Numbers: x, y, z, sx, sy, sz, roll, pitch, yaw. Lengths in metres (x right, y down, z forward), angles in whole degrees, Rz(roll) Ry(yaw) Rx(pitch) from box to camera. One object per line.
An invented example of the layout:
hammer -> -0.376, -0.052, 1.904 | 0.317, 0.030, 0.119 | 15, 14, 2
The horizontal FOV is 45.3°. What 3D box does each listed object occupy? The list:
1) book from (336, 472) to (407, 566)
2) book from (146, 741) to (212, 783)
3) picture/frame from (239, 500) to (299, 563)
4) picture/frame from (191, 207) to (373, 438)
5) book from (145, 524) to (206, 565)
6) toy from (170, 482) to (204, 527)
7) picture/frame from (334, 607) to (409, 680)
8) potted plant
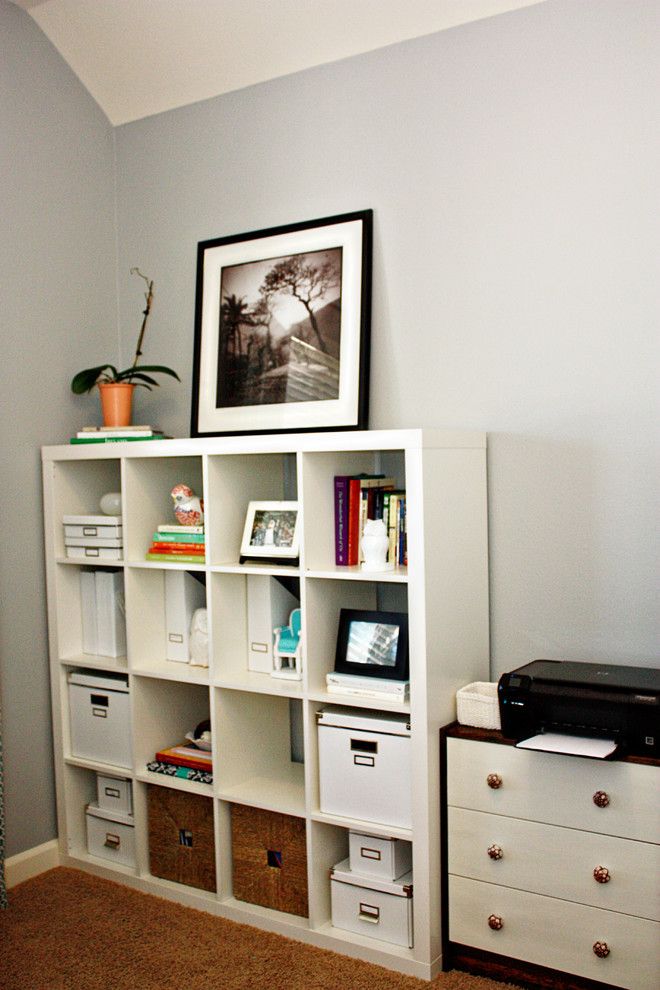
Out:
book -> 0.158, 0.046, 2.159 | 0.194, 0.273, 0.271 | -1, -2, 30
book -> -0.435, 0.799, 2.342 | 0.124, 0.031, 0.124 | 4, 3, 22
picture/frame -> -0.166, 0.105, 2.181 | 0.156, 0.180, 0.013 | -7, -18, 32
picture/frame -> -0.129, -0.522, 2.444 | 0.734, 0.752, 0.058 | -2, -6, 33
book -> -0.449, 0.147, 2.341 | 0.125, 0.046, 0.127 | 1, 5, 29
toy -> -0.440, 0.031, 2.405 | 0.081, 0.138, 0.097 | -19, 6, -41
picture/frame -> 0.097, 0.377, 2.061 | 0.201, 0.181, 0.098 | -4, -20, 41
potted plant -> -0.718, -0.344, 2.736 | 0.373, 0.236, 0.436 | -5, 1, -38
